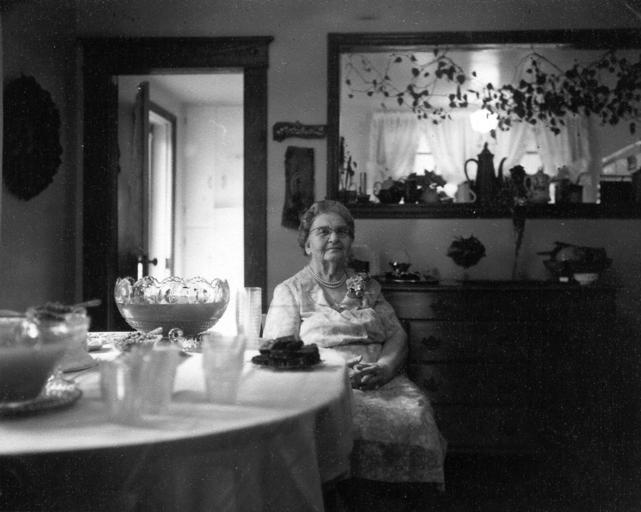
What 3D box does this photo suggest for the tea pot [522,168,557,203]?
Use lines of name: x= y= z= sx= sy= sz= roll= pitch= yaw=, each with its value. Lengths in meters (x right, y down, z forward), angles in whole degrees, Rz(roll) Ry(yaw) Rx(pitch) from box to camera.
tea pot: x=0.669 y=-0.209 z=1.897 sx=0.066 sy=0.123 sz=0.109 roll=-5 pitch=7 yaw=-14

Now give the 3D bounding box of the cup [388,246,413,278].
cup: x=0.254 y=0.019 z=1.989 sx=0.076 sy=0.089 sz=0.080 roll=1 pitch=-3 yaw=0

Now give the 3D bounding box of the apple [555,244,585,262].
apple: x=0.782 y=-0.008 z=1.943 sx=0.097 sy=0.051 sz=0.024 roll=-1 pitch=5 yaw=-14

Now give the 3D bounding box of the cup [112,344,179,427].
cup: x=-0.310 y=0.222 z=1.082 sx=0.120 sy=0.131 sz=0.113 roll=-1 pitch=-8 yaw=0

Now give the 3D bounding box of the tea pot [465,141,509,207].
tea pot: x=0.511 y=-0.250 z=1.916 sx=0.067 sy=0.190 sz=0.123 roll=-4 pitch=6 yaw=-40

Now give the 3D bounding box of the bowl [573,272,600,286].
bowl: x=0.844 y=0.072 z=1.970 sx=0.119 sy=0.046 sz=0.027 roll=-4 pitch=6 yaw=-36
